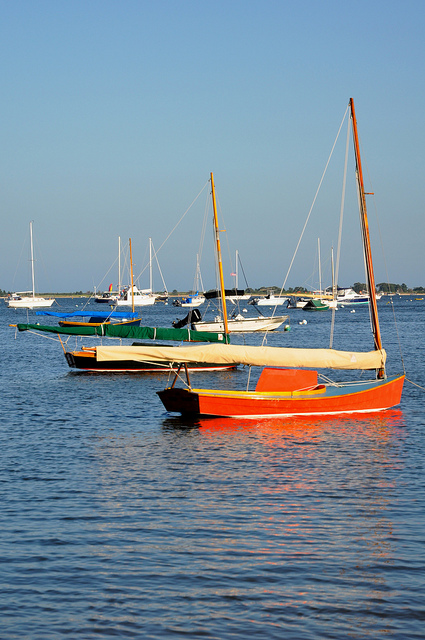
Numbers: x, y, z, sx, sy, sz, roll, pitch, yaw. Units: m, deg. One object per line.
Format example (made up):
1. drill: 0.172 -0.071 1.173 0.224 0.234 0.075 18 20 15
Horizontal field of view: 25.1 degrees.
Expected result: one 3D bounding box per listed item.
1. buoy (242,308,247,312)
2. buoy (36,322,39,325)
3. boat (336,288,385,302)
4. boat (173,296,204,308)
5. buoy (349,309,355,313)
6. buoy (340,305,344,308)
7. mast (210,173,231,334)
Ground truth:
1. buoy: 4.686 -1.590 138.089 0.579 0.265 0.750 -2 -1 33
2. buoy: -16.066 0.245 87.615 0.205 0.442 0.711 -2 13 -20
3. boat: 23.821 -4.311 163.854 4.531 2.118 9.572 0 2 8
4. boat: -4.138 -2.725 150.316 6.097 2.108 2.107 -1 16 27
5. buoy: 19.941 -1.322 135.255 0.545 0.597 0.244 -7 -31 40
6. buoy: 21.981 -2.424 161.656 0.455 0.313 0.464 0 0 -26
7. mast: 0.375 -3.030 43.453 0.872 7.371 0.748 -6 6 -41
